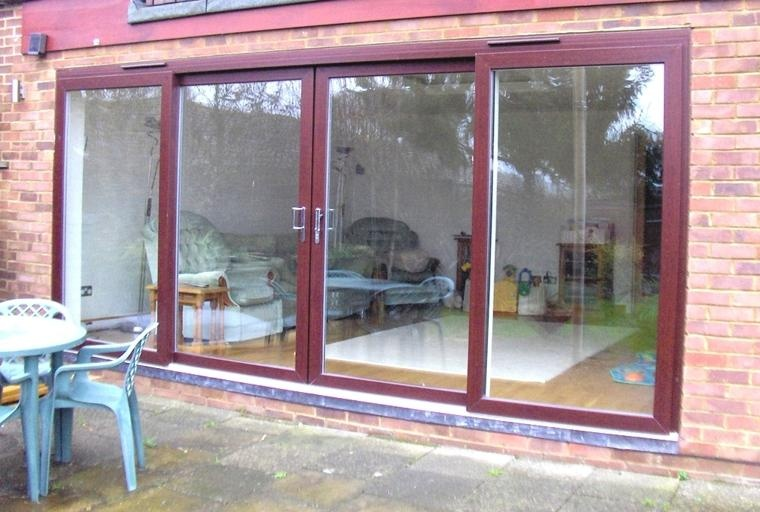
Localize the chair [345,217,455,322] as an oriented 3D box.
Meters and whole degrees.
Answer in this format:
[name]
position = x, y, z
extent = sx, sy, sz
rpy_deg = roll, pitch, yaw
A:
[chair]
position = 0.105, 0.105, 5.581
extent = 0.679, 0.910, 0.936
rpy_deg = -3, 15, -26
